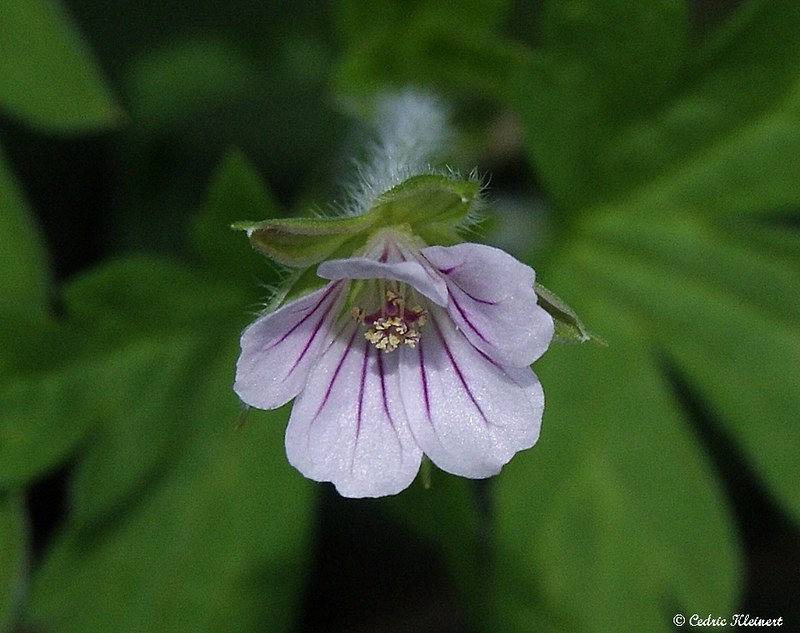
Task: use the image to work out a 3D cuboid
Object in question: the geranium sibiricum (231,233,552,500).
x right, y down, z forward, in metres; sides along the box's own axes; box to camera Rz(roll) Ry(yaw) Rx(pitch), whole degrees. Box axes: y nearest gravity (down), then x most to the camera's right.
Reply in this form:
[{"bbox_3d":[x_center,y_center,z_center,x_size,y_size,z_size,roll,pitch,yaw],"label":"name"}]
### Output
[{"bbox_3d":[-0.018,0.076,1.565,0.601,0.507,0.309,-1,-16,-3],"label":"geranium sibiricum"}]
